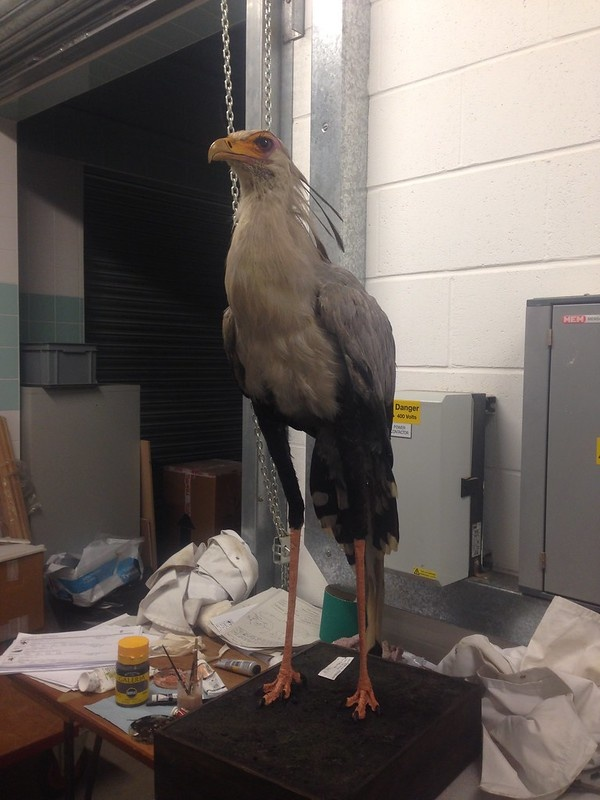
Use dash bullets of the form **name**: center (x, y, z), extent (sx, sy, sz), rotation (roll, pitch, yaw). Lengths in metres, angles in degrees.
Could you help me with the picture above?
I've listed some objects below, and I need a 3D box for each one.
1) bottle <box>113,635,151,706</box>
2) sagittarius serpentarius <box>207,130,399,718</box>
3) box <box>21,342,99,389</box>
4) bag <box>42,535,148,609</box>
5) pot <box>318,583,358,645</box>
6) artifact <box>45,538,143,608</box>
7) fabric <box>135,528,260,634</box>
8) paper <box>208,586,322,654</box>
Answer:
- **bottle**: center (-0.353, 0.577, 1.442), extent (0.069, 0.129, 0.073), rotation (2, 4, 0)
- **sagittarius serpentarius**: center (0.023, 0.036, 1.191), extent (0.295, 0.764, 0.413), rotation (-6, -2, 14)
- **box**: center (-1.254, -0.194, 3.541), extent (0.373, 0.245, 0.216), rotation (-5, -2, -24)
- **bag**: center (-0.988, 0.831, 3.374), extent (0.232, 0.176, 0.365), rotation (-3, 10, 34)
- **pot**: center (0.090, 0.512, 1.610), extent (0.086, 0.102, 0.087), rotation (16, -9, 3)
- **artifact**: center (-1.004, 0.827, 3.376), extent (0.231, 0.177, 0.364), rotation (-1, 12, 34)
- **fabric**: center (-0.298, 0.524, 1.931), extent (0.258, 0.177, 0.380), rotation (17, 24, 36)
- **paper**: center (-0.099, 0.561, 1.724), extent (0.234, 0.059, 0.234), rotation (-10, 18, -43)
